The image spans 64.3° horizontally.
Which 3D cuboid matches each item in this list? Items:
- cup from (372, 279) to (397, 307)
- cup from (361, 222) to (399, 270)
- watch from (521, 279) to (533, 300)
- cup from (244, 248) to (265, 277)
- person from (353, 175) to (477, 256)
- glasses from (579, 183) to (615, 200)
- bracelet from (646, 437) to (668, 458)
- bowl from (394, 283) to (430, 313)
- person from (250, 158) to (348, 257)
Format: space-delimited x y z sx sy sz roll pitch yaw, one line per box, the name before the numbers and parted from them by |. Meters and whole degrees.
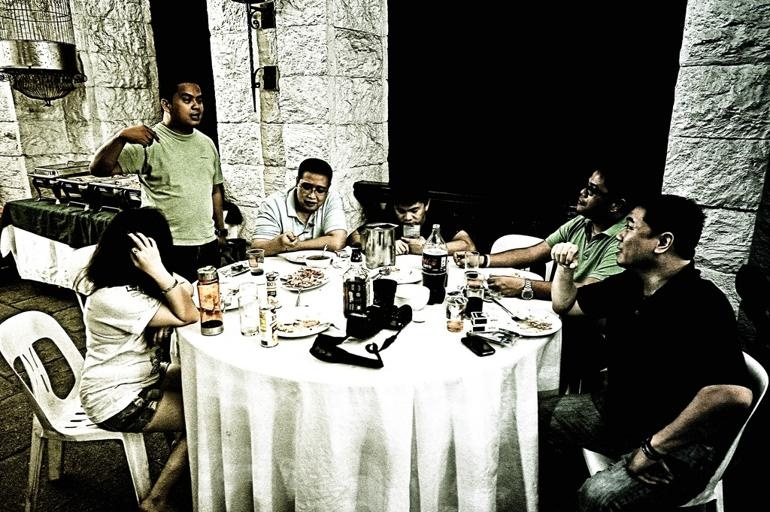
cup | -0.003 0.210 3.498 0.162 0.156 0.156 5 -1 0
cup | -0.015 -0.065 4.208 0.392 0.370 0.276 0 0 4
watch | 0.886 0.212 3.812 0.074 0.098 0.111 0 29 12
cup | -0.855 0.030 4.044 0.160 0.157 0.170 -2 0 0
person | 0.133 -0.363 5.216 0.765 0.381 0.966 1 -6 1
glasses | 1.424 -0.432 4.092 0.120 0.084 0.148 8 20 -33
bracelet | 1.406 0.995 3.186 0.117 0.054 0.094 -12 23 -26
bowl | 0.167 0.237 3.603 0.178 0.091 0.170 -1 7 0
person | -0.653 -0.388 4.883 0.743 0.912 0.663 -9 37 -30
